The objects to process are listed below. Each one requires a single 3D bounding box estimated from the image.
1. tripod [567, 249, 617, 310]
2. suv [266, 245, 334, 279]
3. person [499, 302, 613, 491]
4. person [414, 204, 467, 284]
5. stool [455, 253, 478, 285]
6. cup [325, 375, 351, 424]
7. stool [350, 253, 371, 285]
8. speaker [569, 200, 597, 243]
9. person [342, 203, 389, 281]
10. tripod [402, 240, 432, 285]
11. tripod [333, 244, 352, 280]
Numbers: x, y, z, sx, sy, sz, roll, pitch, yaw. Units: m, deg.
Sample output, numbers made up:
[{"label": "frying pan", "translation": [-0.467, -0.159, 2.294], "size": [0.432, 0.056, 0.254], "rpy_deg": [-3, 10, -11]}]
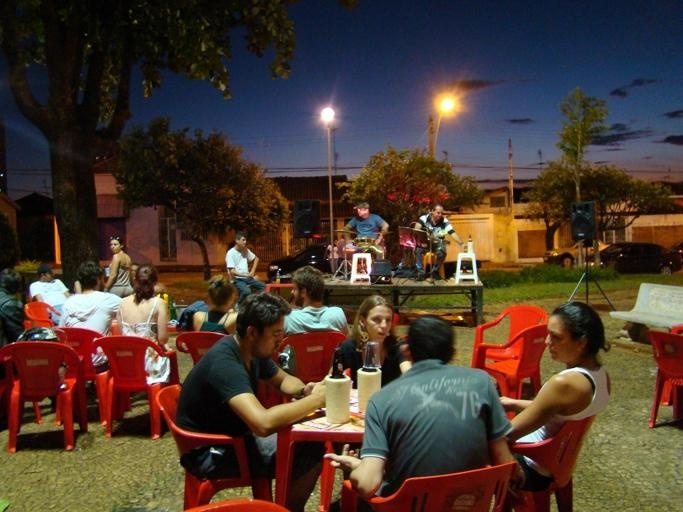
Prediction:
[{"label": "tripod", "translation": [7.311, 0.627, 16.631], "size": [1.375, 2.271, 1.439], "rpy_deg": [1, 6, 18]}, {"label": "suv", "translation": [-1.341, 0.169, 19.494], "size": [1.893, 1.014, 1.118], "rpy_deg": [1, -1, -6]}, {"label": "person", "translation": [1.474, 0.960, 4.000], "size": [0.926, 1.223, 0.484], "rpy_deg": [-3, 1, -26]}, {"label": "person", "translation": [2.069, -0.275, 12.183], "size": [0.977, 1.658, 0.975], "rpy_deg": [3, -1, 22]}, {"label": "stool", "translation": [2.500, 0.263, 11.546], "size": [0.532, 0.716, 0.575], "rpy_deg": [-3, 6, 2]}, {"label": "cup", "translation": [-0.024, 0.961, 3.905], "size": [0.180, 0.317, 0.179], "rpy_deg": [0, 5, 0]}, {"label": "stool", "translation": [0.392, 0.251, 11.601], "size": [0.483, 0.734, 0.496], "rpy_deg": [-1, 3, 11]}, {"label": "speaker", "translation": [5.308, -0.744, 12.631], "size": [0.349, 0.917, 0.720], "rpy_deg": [-3, 1, -15]}, {"label": "person", "translation": [0.501, -0.310, 12.673], "size": [0.895, 1.747, 0.880], "rpy_deg": [0, 8, 18]}, {"label": "tripod", "translation": [1.492, -0.003, 12.299], "size": [0.557, 0.937, 0.552], "rpy_deg": [4, -11, 14]}, {"label": "tripod", "translation": [0.102, 0.106, 12.790], "size": [0.460, 0.759, 0.543], "rpy_deg": [5, 9, -10]}]
